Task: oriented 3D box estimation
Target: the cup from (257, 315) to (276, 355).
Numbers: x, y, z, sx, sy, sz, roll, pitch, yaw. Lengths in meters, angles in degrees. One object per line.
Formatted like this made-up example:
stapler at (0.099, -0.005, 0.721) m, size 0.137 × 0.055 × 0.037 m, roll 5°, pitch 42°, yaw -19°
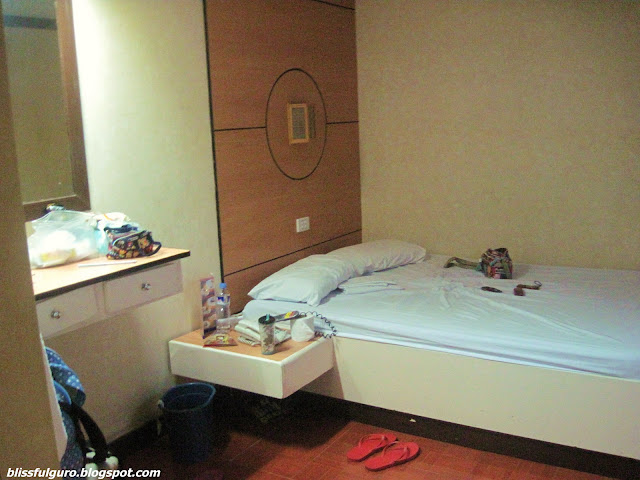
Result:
cup at (-0.254, 0.451, 2.448) m, size 0.074 × 0.196 × 0.109 m, roll -2°, pitch 11°, yaw -5°

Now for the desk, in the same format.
desk at (-0.896, 0.199, 2.095) m, size 0.275 × 0.214 × 0.691 m, roll 6°, pitch 13°, yaw 33°

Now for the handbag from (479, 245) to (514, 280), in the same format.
handbag at (1.081, 0.146, 3.078) m, size 0.158 × 0.181 × 0.214 m, roll -5°, pitch 5°, yaw -13°

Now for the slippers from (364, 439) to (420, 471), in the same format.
slippers at (0.357, 1.037, 2.418) m, size 0.315 × 0.034 × 0.130 m, roll -7°, pitch 13°, yaw -30°

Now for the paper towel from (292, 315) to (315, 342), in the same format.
paper towel at (-0.082, 0.459, 2.626) m, size 0.120 × 0.118 × 0.123 m, roll -6°, pitch 7°, yaw 26°
